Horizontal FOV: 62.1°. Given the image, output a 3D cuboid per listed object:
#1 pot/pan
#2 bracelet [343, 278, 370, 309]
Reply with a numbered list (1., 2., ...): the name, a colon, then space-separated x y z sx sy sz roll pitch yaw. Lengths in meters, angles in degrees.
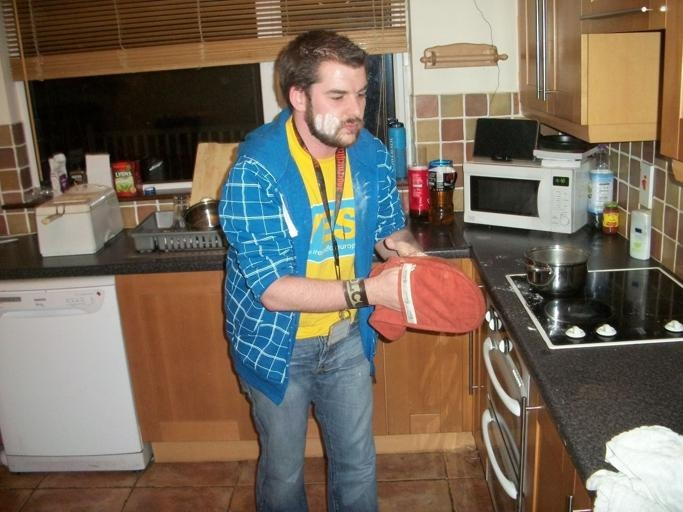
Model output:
1. pot/pan: 0.752 0.050 1.997 0.188 0.090 0.209 3 17 21
2. bracelet: 0.043 0.115 1.709 0.059 0.083 0.078 -6 -18 42
